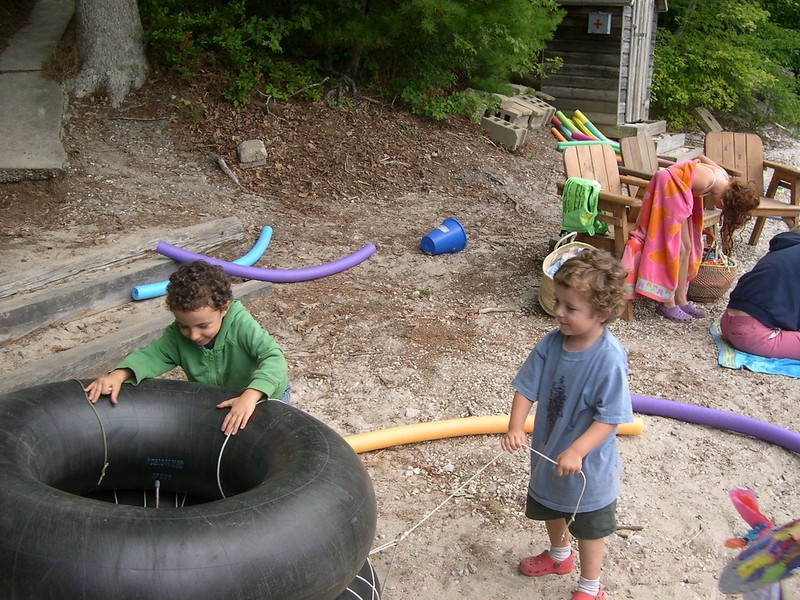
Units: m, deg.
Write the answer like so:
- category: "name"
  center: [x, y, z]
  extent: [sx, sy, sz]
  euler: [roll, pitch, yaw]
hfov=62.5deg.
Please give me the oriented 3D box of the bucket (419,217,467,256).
- category: "bucket"
  center: [0.440, -0.580, 6.321]
  extent: [0.404, 0.380, 0.363]
  euler: [-18, 3, -40]

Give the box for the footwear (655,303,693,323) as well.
- category: "footwear"
  center: [2.273, 0.091, 5.434]
  extent: [0.244, 0.097, 0.126]
  euler: [12, 32, 24]

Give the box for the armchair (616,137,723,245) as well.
- category: "armchair"
  center: [2.770, -1.192, 6.969]
  extent: [0.878, 0.903, 1.044]
  euler: [-14, 27, -29]

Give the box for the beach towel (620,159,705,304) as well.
- category: "beach towel"
  center: [2.183, -0.580, 5.544]
  extent: [0.541, 1.108, 0.831]
  euler: [12, 26, 31]

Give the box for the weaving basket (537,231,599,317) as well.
- category: "weaving basket"
  center: [1.444, -0.191, 5.288]
  extent: [0.666, 0.616, 0.421]
  euler: [4, 36, 11]

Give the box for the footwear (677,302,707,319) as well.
- category: "footwear"
  center: [2.446, 0.086, 5.549]
  extent: [0.220, 0.092, 0.113]
  euler: [20, 19, 5]

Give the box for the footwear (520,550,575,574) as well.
- category: "footwear"
  center: [0.726, 1.306, 3.299]
  extent: [0.268, 0.110, 0.109]
  euler: [1, 10, 2]

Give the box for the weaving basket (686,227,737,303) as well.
- category: "weaving basket"
  center: [2.746, -0.318, 5.952]
  extent: [0.548, 0.631, 0.481]
  euler: [0, 17, 17]
